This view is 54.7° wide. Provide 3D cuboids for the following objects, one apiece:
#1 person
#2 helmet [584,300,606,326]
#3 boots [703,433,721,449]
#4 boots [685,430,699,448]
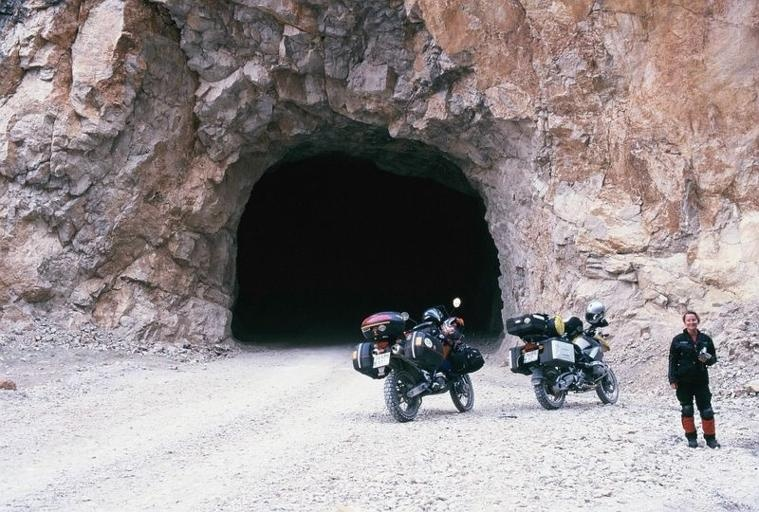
[{"bbox_3d":[5.270,2.055,12.317,0.780,2.125,0.906,1,11,17],"label":"person"},{"bbox_3d":[4.651,1.200,15.624,0.534,0.470,0.393,-8,1,-43],"label":"helmet"},{"bbox_3d":[5.509,3.063,12.144,0.290,0.200,0.209,-5,11,-13],"label":"boots"},{"bbox_3d":[5.151,3.054,12.131,0.157,0.273,0.277,-9,-27,7],"label":"boots"}]
